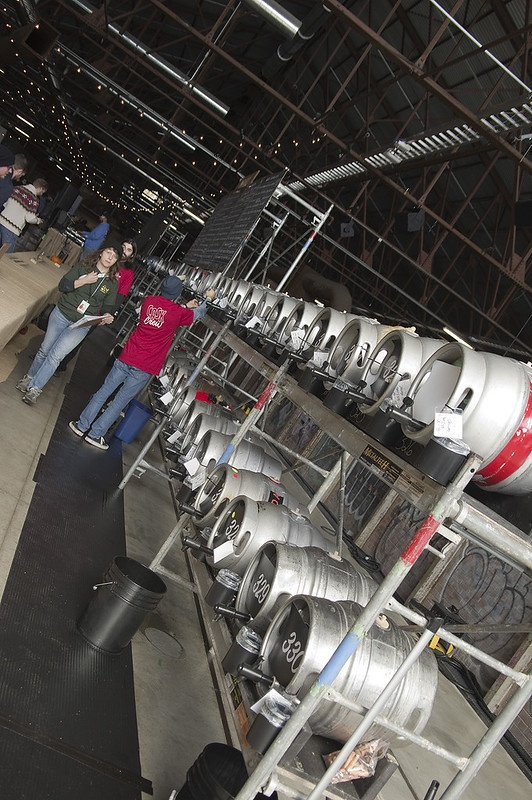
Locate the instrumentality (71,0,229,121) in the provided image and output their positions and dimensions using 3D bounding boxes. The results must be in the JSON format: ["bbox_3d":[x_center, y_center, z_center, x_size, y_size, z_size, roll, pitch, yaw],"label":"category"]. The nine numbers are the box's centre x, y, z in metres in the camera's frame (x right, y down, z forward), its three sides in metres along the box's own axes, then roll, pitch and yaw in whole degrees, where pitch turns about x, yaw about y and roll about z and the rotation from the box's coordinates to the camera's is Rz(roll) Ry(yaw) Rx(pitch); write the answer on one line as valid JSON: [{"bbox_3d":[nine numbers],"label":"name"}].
[{"bbox_3d":[-2.187,-7.365,12.372,3.265,0.581,1.141,35,0,-2],"label":"instrumentality"}]

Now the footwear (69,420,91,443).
[{"bbox_3d":[-2.251,0.367,6.670,0.115,0.116,0.269,8,22,-38],"label":"footwear"}]

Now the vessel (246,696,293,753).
[{"bbox_3d":[0.008,1.012,1.754,0.104,0.168,0.101,29,11,7],"label":"vessel"}]

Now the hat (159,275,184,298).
[{"bbox_3d":[-1.157,-1.357,6.926,0.232,0.340,0.115,9,9,-1],"label":"hat"}]

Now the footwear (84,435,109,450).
[{"bbox_3d":[-2.067,0.521,6.843,0.109,0.128,0.297,27,2,43],"label":"footwear"}]

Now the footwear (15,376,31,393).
[{"bbox_3d":[-2.670,-0.167,6.123,0.107,0.104,0.238,16,8,-22],"label":"footwear"}]

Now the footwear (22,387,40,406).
[{"bbox_3d":[-2.551,-0.036,6.107,0.101,0.127,0.295,28,-4,-11],"label":"footwear"}]

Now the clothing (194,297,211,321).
[{"bbox_3d":[-0.777,-1.070,6.594,0.098,0.276,0.215,42,17,-37],"label":"clothing"}]
